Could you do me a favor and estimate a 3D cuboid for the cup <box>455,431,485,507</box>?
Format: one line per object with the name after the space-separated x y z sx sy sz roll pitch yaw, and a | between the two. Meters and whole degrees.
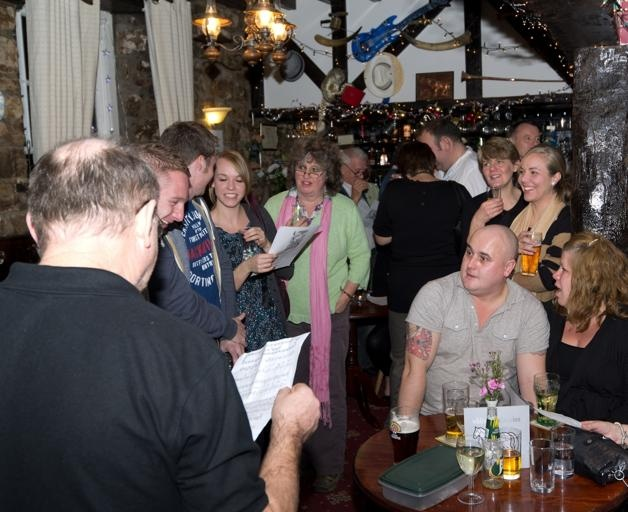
0.510 0.669 1.796 0.079 0.184 0.252 -1 7 15 | cup

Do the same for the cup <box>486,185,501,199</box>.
1.102 -0.398 3.400 0.087 0.105 0.090 0 4 0 | cup

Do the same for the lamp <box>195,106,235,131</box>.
-1.466 -2.026 7.939 0.377 0.276 0.354 -4 4 -37 | lamp
